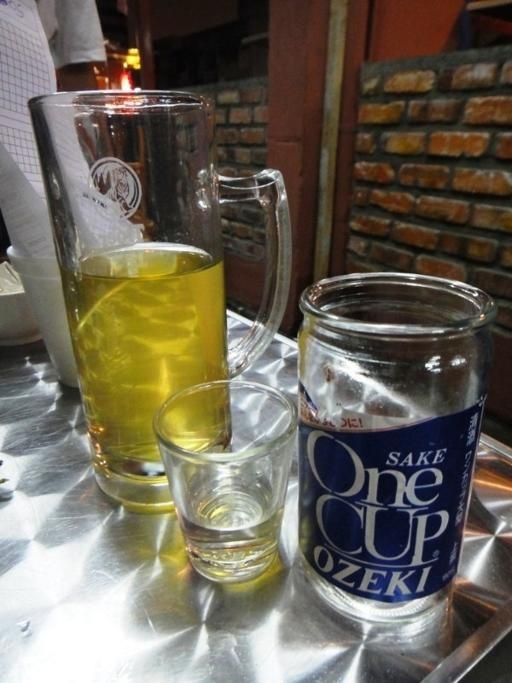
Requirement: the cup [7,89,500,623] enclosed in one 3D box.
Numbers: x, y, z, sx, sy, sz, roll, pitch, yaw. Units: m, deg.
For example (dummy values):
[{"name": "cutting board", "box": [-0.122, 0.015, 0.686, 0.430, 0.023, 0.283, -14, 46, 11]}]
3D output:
[{"name": "cup", "box": [0.017, -0.012, 0.311, 0.209, 0.250, 0.247, -18, 29, -30]}]
